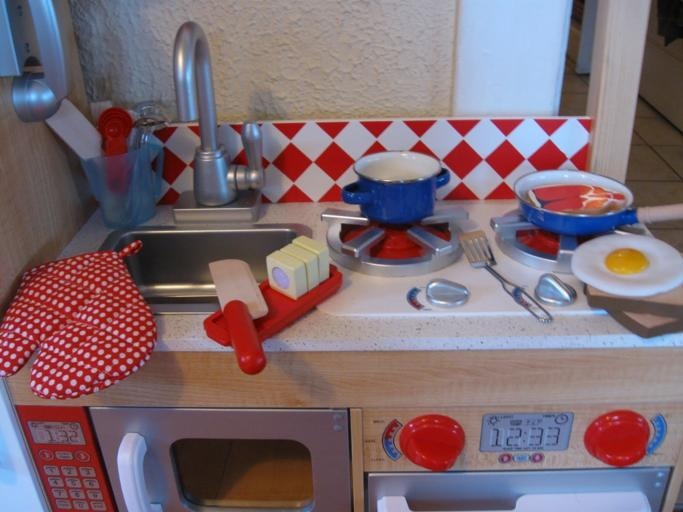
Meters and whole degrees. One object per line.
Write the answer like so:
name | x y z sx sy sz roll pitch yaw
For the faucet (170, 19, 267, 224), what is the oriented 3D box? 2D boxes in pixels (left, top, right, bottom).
faucet | -0.318 -0.308 1.410 0.241 0.481 0.254 -6 25 -11

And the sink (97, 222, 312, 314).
sink | -0.401 0.003 1.421 0.401 0.106 0.232 0 48 -3
